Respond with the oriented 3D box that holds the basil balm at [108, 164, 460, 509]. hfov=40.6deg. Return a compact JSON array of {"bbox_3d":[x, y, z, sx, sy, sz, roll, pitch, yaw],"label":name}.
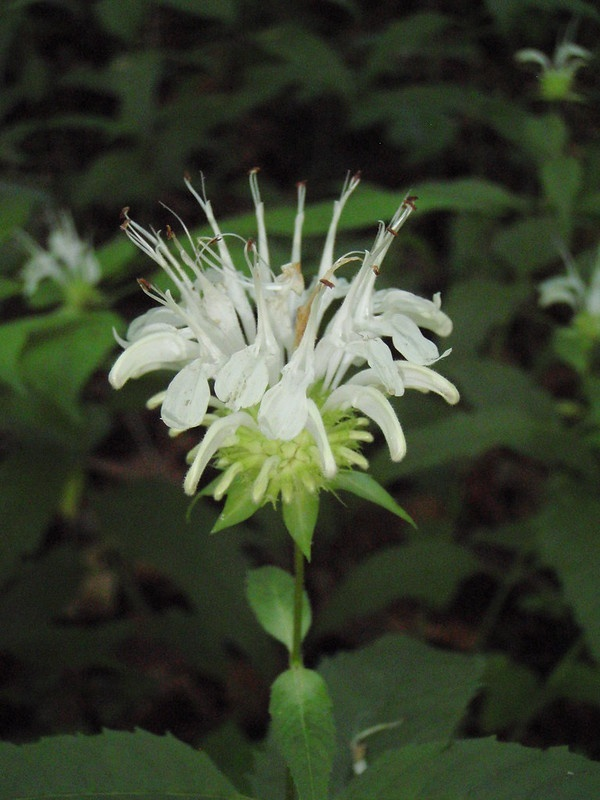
[{"bbox_3d":[-0.026,-0.095,1.369,0.656,0.363,0.574,-2,-5,14],"label":"basil balm"}]
